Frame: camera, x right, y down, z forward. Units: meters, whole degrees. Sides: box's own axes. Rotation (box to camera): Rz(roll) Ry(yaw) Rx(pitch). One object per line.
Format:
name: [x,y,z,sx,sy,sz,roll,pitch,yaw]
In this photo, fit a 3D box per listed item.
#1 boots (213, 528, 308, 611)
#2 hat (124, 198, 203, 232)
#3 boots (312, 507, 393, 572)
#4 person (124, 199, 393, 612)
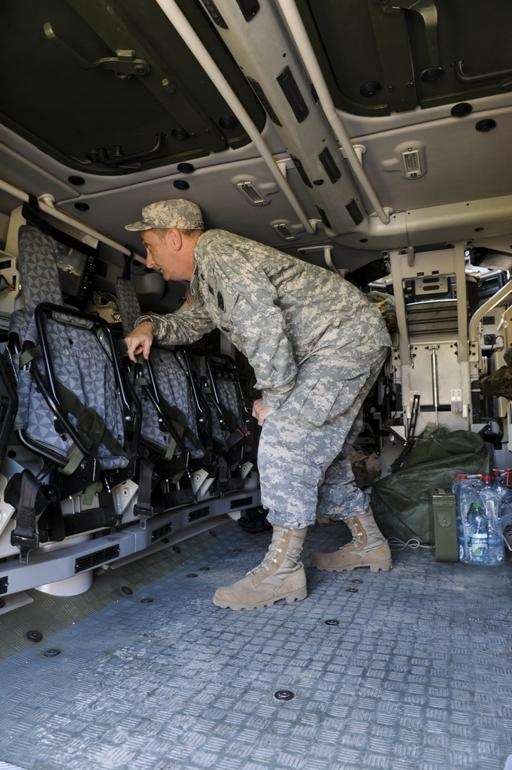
boots: [0.068,0.817,2.213,0.521,0.424,0.215,4,-5,-8]
hat: [-0.459,-0.822,2.436,0.304,0.122,0.210,2,15,8]
boots: [0.491,0.834,2.704,0.507,0.427,0.202,3,-1,12]
person: [0.016,-0.027,2.301,1.243,1.978,1.008,-2,-8,8]
